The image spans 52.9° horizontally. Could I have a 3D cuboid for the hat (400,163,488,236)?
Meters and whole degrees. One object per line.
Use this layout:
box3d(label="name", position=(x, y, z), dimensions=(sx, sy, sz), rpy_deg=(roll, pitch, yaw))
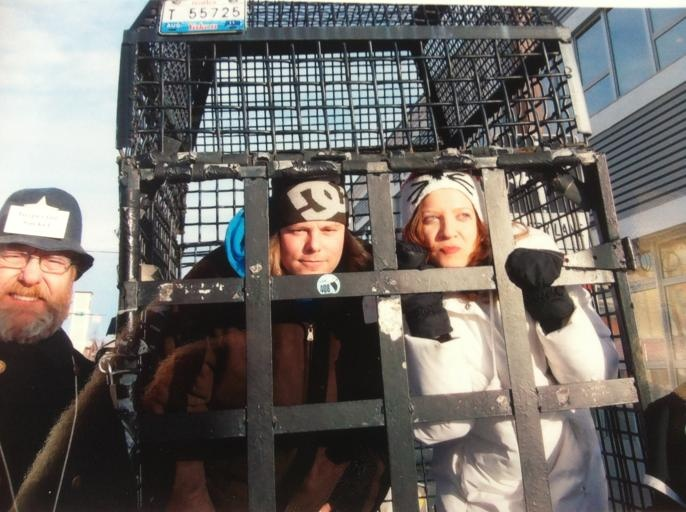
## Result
box3d(label="hat", position=(0.615, -0.434, 4.678), dimensions=(0.535, 0.381, 0.566), rpy_deg=(-15, 0, 20))

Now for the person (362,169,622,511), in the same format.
box3d(label="person", position=(1.030, 0.500, 4.879), dimensions=(1.454, 2.281, 0.819), rpy_deg=(-3, 3, -5))
